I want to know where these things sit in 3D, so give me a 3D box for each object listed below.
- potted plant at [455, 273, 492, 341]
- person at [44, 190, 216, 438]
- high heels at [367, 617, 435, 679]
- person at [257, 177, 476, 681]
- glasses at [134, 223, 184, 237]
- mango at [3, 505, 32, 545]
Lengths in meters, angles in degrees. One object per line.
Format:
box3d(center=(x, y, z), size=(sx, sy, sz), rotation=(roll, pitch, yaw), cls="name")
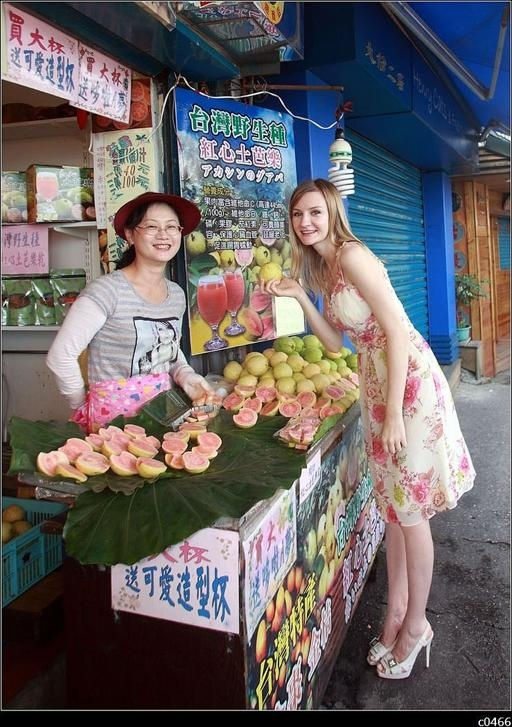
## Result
box3d(center=(4.052, -1.146, 9.154), size=(0.638, 1.553, 0.635), rotation=(5, 11, 12), cls="potted plant")
box3d(center=(-0.472, -0.187, 1.891), size=(0.589, 0.915, 0.440), rotation=(2, 11, -21), cls="person")
box3d(center=(0.552, 1.169, 2.024), size=(0.288, 0.212, 0.174), rotation=(1, -7, -5), cls="high heels")
box3d(center=(0.525, 0.320, 2.183), size=(0.793, 1.957, 0.778), rotation=(4, 9, 39), cls="person")
box3d(center=(-0.353, -0.485, 1.783), size=(0.155, 0.051, 0.067), rotation=(1, 11, -28), cls="glasses")
box3d(center=(-1.170, 0.803, 2.386), size=(0.073, 0.071, 0.086), rotation=(16, 41, 5), cls="mango")
